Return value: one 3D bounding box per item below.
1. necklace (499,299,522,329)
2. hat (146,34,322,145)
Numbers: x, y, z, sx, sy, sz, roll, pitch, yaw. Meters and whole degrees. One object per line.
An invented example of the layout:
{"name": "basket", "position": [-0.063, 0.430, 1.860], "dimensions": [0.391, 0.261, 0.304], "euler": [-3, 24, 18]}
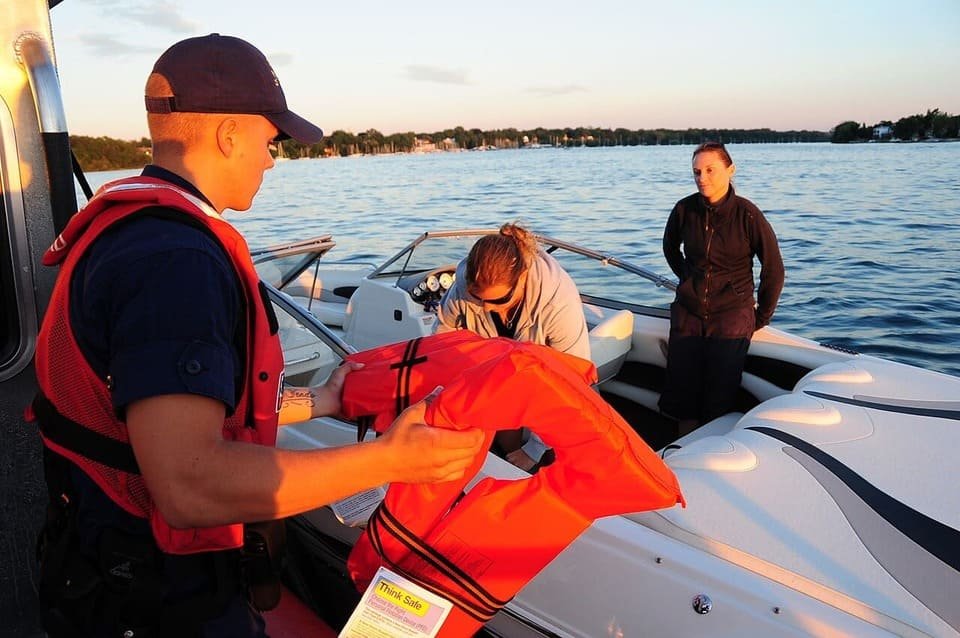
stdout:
{"name": "necklace", "position": [0.166, -0.030, 3.523], "dimensions": [0.110, 0.161, 0.067], "euler": [-1, 7, 21]}
{"name": "hat", "position": [-0.645, -0.577, 1.751], "dimensions": [0.469, 0.278, 0.302], "euler": [-5, -4, -13]}
